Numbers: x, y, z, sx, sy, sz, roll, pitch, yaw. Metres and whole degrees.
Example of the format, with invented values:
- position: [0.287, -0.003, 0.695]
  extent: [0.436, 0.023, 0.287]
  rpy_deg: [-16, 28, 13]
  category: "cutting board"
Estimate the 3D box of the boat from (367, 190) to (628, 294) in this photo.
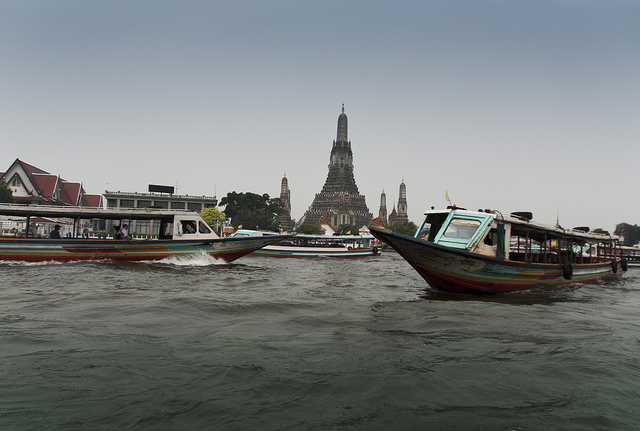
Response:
- position: [7.203, 1.631, 19.725]
  extent: [13.318, 2.691, 4.133]
  rpy_deg: [8, -10, -29]
  category: "boat"

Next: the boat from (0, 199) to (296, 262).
- position: [-13.130, 0.537, 31.107]
  extent: [10.419, 3.462, 17.770]
  rpy_deg: [-2, 8, -30]
  category: "boat"

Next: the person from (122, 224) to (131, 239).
- position: [-9.205, 0.724, 24.841]
  extent: [0.312, 0.589, 0.808]
  rpy_deg: [1, 7, -20]
  category: "person"
